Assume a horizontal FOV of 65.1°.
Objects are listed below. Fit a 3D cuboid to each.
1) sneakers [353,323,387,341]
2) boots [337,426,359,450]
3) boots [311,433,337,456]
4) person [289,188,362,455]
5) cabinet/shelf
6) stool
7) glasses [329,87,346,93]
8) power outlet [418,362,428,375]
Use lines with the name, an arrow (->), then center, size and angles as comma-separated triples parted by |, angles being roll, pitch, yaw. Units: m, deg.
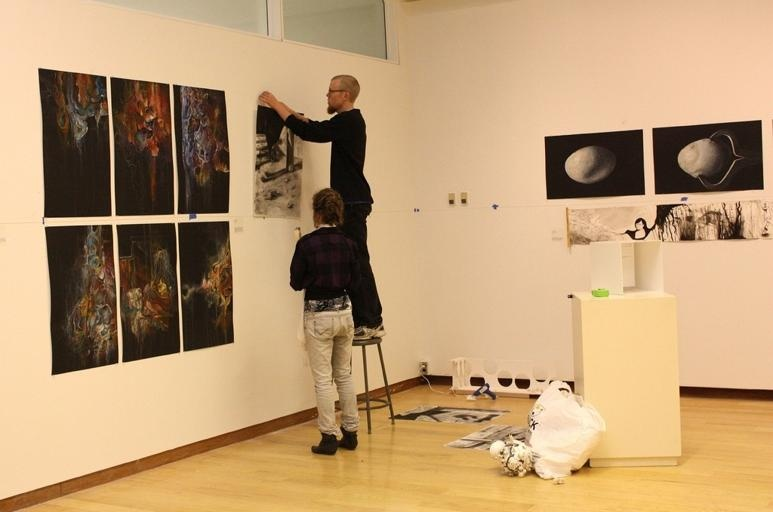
sneakers -> -0.152, 0.720, 5.628 | 0.309, 0.141, 0.115 | 3, -3, -44
boots -> -0.326, 1.580, 5.216 | 0.093, 0.179, 0.247 | 0, 4, -20
boots -> -0.525, 1.576, 5.122 | 0.240, 0.183, 0.186 | -2, 4, -5
person -> -0.501, 0.553, 5.109 | 0.560, 2.228, 0.299 | -6, 5, -44
cabinet/shelf -> 1.933, 0.770, 4.912 | 0.822, 1.059, 0.820 | -3, 34, 19
stool -> -0.223, 1.219, 5.939 | 0.513, 0.827, 0.506 | 15, -21, -39
glasses -> -0.456, -1.502, 5.529 | 0.155, 0.046, 0.049 | -1, 4, 18
power outlet -> 0.439, 1.361, 7.247 | 0.135, 0.198, 0.138 | -2, -6, 21
